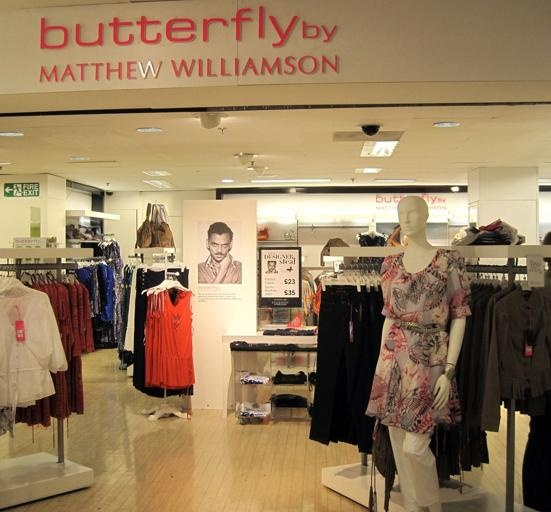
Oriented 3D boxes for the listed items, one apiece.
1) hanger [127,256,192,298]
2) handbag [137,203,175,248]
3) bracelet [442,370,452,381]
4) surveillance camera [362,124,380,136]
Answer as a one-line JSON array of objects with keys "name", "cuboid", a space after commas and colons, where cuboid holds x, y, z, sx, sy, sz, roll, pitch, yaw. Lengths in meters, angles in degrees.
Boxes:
[{"name": "hanger", "cuboid": [-1.339, 0.250, 5.772, 0.504, 0.630, 0.324, 0, 3, 19]}, {"name": "handbag", "cuboid": [-1.598, -0.321, 6.588, 0.583, 0.830, 0.495, 0, -1, -25]}, {"name": "bracelet", "cuboid": [0.896, 0.611, 2.516, 0.037, 0.043, 0.009, 2, -1, -13]}, {"name": "surveillance camera", "cuboid": [0.953, -1.248, 4.877, 0.186, 0.051, 0.308, -1, -1, 10]}]
